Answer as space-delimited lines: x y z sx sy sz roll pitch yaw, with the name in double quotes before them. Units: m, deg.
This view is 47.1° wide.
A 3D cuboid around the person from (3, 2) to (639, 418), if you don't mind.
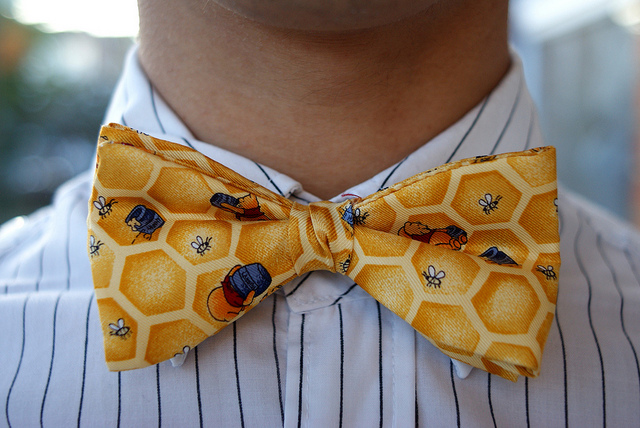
"person" -0.043 0.005 1.298 0.835 0.453 0.876 1 89 3
